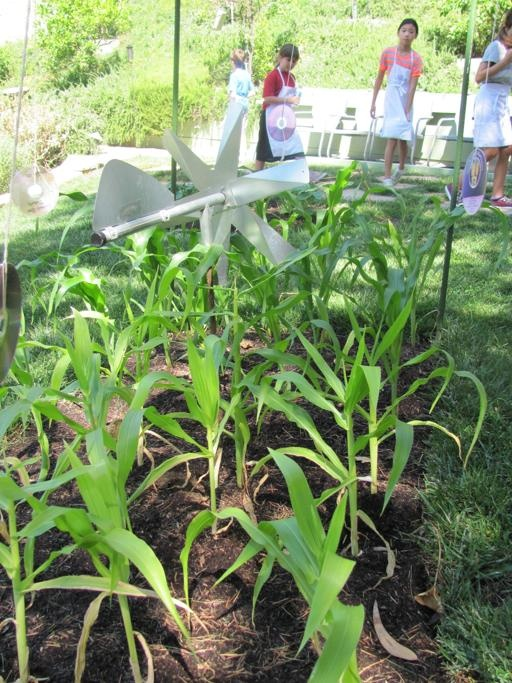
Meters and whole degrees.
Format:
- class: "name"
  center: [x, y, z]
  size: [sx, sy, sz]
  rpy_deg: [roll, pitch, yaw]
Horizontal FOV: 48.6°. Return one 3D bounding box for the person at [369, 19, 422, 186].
- class: "person"
  center: [1.255, -2.139, 5.155]
  size: [0.425, 1.421, 1.463]
  rpy_deg: [7, 15, 9]
